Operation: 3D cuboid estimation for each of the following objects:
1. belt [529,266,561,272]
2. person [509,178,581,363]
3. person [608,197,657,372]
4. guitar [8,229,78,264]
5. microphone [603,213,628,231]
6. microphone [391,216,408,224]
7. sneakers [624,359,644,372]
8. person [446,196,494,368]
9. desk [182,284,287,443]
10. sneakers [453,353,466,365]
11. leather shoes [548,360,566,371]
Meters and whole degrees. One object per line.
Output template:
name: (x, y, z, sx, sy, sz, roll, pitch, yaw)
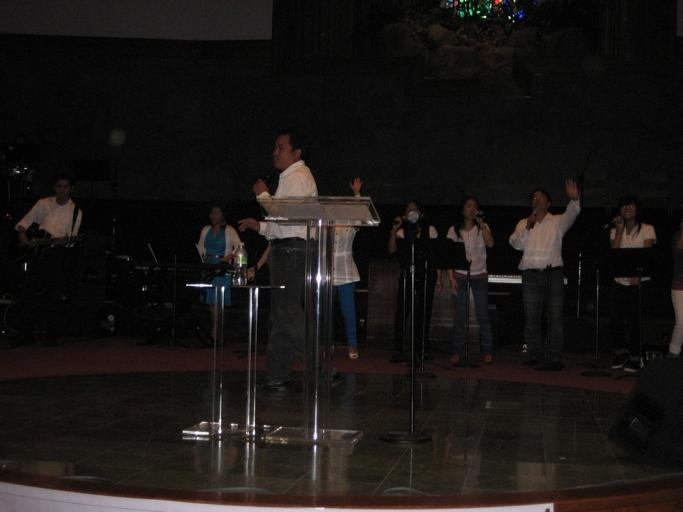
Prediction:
belt: (2.090, 0.130, 7.076, 0.301, 0.056, 0.055, 1, 0, 11)
person: (2.110, 0.213, 7.125, 0.363, 1.952, 0.879, 1, 0, -21)
person: (3.050, 0.288, 7.302, 0.442, 1.918, 1.208, 1, 0, 21)
guitar: (-3.404, -0.114, 7.934, 0.662, 0.216, 0.359, 3, 14, -15)
microphone: (3.153, -0.385, 7.976, 0.301, 0.096, 0.221, -25, 2, 2)
microphone: (0.651, -0.397, 7.739, 0.188, 0.095, 0.289, -8, -2, 2)
sneakers: (2.995, 1.110, 7.138, 0.198, 0.151, 0.400, 1, 0, 23)
person: (1.407, 0.262, 7.574, 0.476, 1.774, 0.447, 1, 0, 8)
desk: (-0.715, 0.684, 4.599, 0.596, 1.027, 0.340, 1, 1, -2)
sneakers: (1.283, 1.123, 7.574, 0.061, 0.124, 0.183, -12, -27, 29)
leather shoes: (2.197, 1.118, 7.110, 0.096, 0.048, 0.128, 0, 3, -26)
